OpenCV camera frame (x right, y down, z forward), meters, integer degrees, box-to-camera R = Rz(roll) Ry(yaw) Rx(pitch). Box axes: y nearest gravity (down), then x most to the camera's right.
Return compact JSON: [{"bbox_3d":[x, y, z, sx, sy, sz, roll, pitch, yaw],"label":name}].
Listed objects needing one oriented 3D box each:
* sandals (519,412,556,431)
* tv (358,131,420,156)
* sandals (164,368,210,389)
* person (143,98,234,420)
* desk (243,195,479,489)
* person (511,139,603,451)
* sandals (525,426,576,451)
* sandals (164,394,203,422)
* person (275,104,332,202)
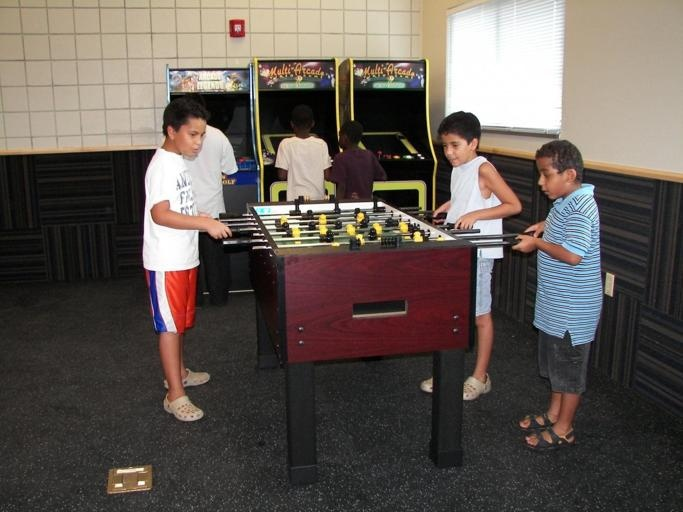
[{"bbox_3d":[1.088,0.909,2.830,0.192,0.055,0.077,-9,23,-2],"label":"sandals"},{"bbox_3d":[0.509,-1.182,5.399,0.408,0.128,0.386,-4,26,-10],"label":"tv"},{"bbox_3d":[-1.004,0.798,3.315,0.261,0.110,0.129,-8,15,-32],"label":"sandals"},{"bbox_3d":[-0.910,0.021,2.951,0.446,1.780,0.540,-9,16,-22],"label":"person"},{"bbox_3d":[0.061,0.370,2.862,1.000,1.157,1.135,-5,16,-9],"label":"desk"},{"bbox_3d":[1.119,0.206,2.642,0.411,1.548,0.491,5,17,24],"label":"person"},{"bbox_3d":[1.083,0.962,2.654,0.226,0.094,0.112,2,12,5],"label":"sandals"},{"bbox_3d":[-0.927,0.891,2.986,0.222,0.098,0.120,12,14,32],"label":"sandals"},{"bbox_3d":[-0.335,-0.769,4.803,0.505,1.334,0.414,-1,39,-4],"label":"person"}]
